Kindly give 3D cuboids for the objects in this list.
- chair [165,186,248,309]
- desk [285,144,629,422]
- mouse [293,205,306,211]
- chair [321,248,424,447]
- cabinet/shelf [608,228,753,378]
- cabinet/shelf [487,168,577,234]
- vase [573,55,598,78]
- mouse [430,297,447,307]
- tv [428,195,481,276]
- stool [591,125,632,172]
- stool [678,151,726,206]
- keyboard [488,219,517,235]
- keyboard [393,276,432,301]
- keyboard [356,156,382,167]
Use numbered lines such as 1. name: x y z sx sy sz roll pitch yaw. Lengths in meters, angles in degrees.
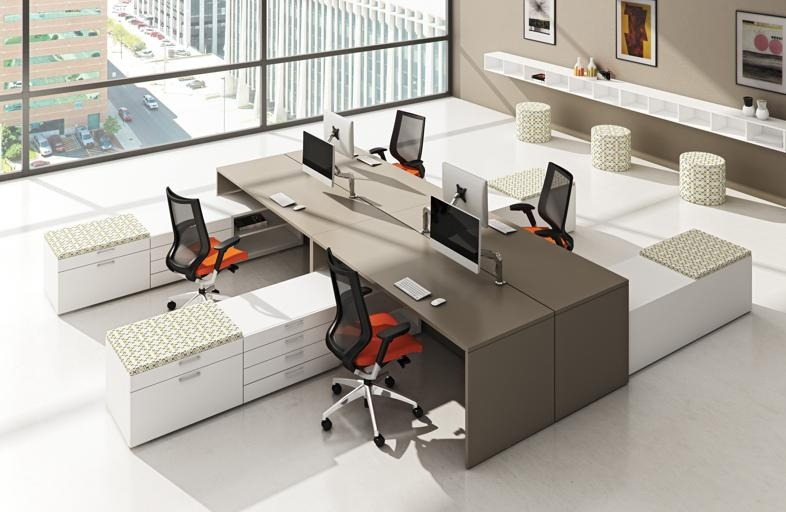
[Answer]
1. chair: -1.971 -0.017 6.238 0.830 1.246 0.735 13 18 25
2. desk: 0.196 0.379 6.486 1.787 1.004 4.147 -17 24 -29
3. mouse: -1.008 -0.512 6.325 0.098 0.024 0.059 -13 25 -35
4. chair: -0.246 0.747 5.190 0.939 1.363 1.021 -7 17 -29
5. cabinet/shelf: 2.713 0.389 5.864 1.743 0.707 0.734 -20 34 -24
6. cabinet/shelf: 1.554 -0.786 7.403 1.057 0.609 1.020 -21 32 -40
7. vase: 3.050 -2.978 9.438 0.175 0.272 0.420 -10 18 -28
8. mouse: 0.378 0.381 4.965 0.132 0.023 0.095 -4 30 3
9. tv: 0.552 -0.162 5.344 0.327 0.416 0.631 -21 30 -31
10. stool: 3.219 -1.581 8.799 0.732 0.601 0.596 3 11 -6
11. stool: 4.163 -1.022 8.103 0.658 0.551 0.628 -6 11 -26
12. keyboard: 1.065 -0.298 5.956 0.135 0.023 0.233 -12 23 -27
13. keyboard: 0.178 0.280 5.116 0.174 0.057 0.269 -23 38 -35
14. keyboard: -0.323 -1.165 7.322 0.147 0.062 0.279 -14 24 -33
